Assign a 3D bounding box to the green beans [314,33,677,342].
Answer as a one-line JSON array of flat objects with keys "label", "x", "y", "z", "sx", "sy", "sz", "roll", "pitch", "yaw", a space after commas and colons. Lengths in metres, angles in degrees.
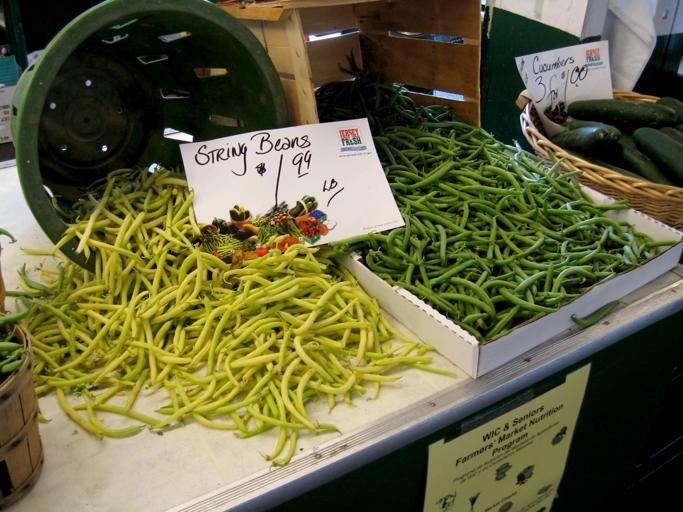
[{"label": "green beans", "x": 0.310, "y": -0.212, "z": 1.578, "sx": 0.707, "sy": 0.185, "sz": 0.950, "roll": -28, "pitch": 54, "yaw": -30}]
